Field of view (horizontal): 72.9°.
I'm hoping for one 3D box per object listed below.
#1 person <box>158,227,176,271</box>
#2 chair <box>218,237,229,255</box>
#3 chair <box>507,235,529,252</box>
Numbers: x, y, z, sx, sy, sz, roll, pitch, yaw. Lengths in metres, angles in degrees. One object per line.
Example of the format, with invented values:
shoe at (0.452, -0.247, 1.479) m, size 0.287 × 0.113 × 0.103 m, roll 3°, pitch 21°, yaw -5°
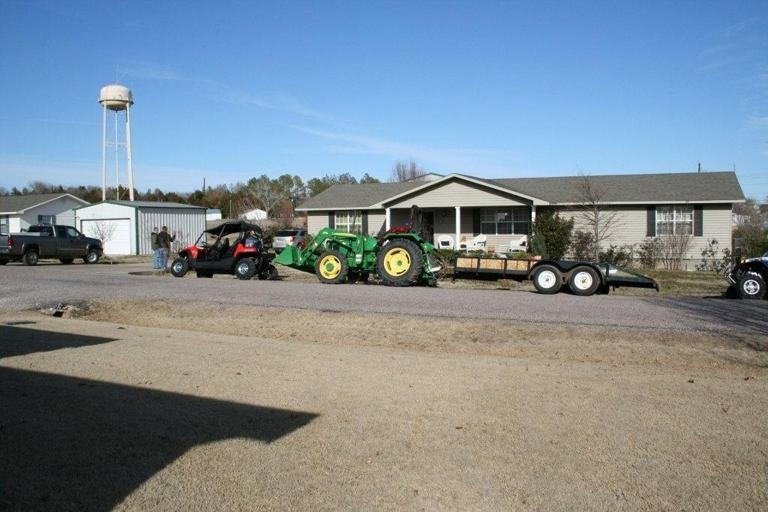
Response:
person at (-8.689, -0.384, 20.603) m, size 0.485 × 1.662 × 1.862 m, roll -4°, pitch 10°, yaw -23°
chair at (-5.514, -0.328, 17.867) m, size 0.317 × 0.567 × 0.180 m, roll 10°, pitch -31°, yaw -11°
chair at (5.852, -0.473, 22.540) m, size 0.798 × 0.706 × 1.092 m, roll 2°, pitch 0°, yaw 8°
